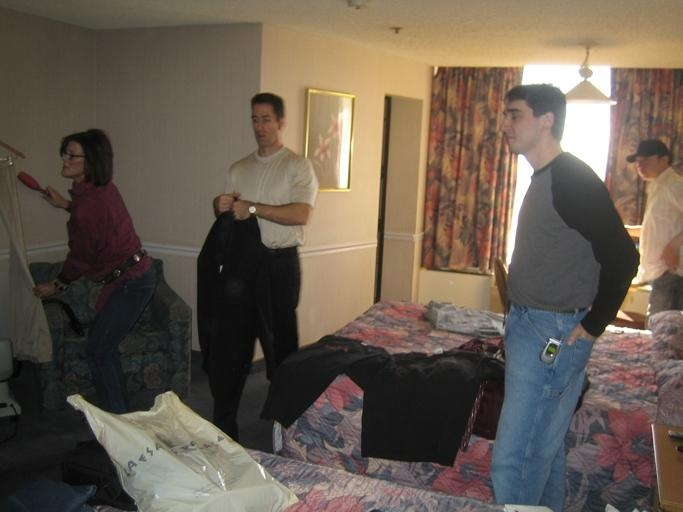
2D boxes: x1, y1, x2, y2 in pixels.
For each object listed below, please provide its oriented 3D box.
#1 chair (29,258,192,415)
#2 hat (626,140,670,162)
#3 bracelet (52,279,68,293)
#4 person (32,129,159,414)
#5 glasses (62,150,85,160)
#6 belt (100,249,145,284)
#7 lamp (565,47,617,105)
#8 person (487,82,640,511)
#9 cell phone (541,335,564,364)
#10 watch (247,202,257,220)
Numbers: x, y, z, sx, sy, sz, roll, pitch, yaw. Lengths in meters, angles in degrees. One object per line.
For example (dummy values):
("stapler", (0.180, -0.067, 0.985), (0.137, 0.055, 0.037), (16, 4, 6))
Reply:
("chair", (-1.774, 0.550, 4.232), (1.028, 0.921, 0.774), (6, 1, -25))
("hat", (2.895, -0.990, 5.011), (0.305, 0.163, 0.224), (5, 8, 18))
("bracelet", (-1.841, 0.192, 3.470), (0.077, 0.107, 0.042), (-11, 49, 33))
("person", (-1.469, 0.084, 3.361), (0.501, 1.735, 0.482), (11, 16, 40))
("glasses", (-1.646, -0.618, 3.257), (0.153, 0.048, 0.044), (5, 13, 22))
("belt", (-1.372, 0.077, 3.379), (0.250, 0.074, 0.205), (-35, 11, 2))
("lamp", (2.179, -1.637, 4.740), (0.410, 0.410, 0.398), (-11, 21, -19))
("person", (0.944, 0.210, 2.289), (0.569, 1.881, 0.523), (4, 13, 16))
("cell phone", (0.904, 0.398, 2.256), (0.077, 0.132, 0.071), (24, -1, 4))
("watch", (-0.540, -0.278, 3.246), (0.053, 0.092, 0.073), (-1, 12, -9))
